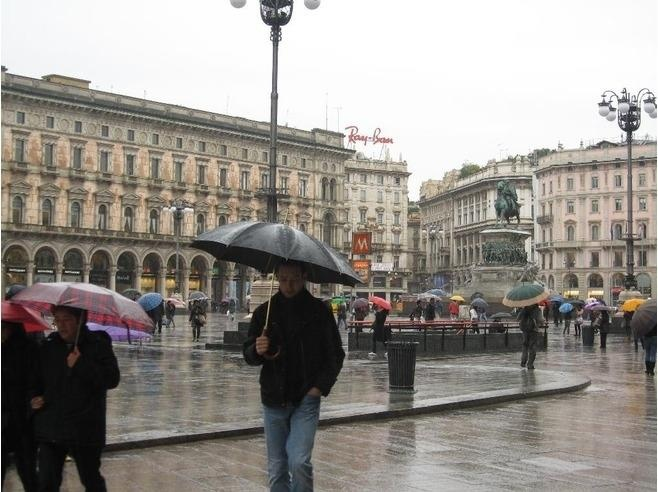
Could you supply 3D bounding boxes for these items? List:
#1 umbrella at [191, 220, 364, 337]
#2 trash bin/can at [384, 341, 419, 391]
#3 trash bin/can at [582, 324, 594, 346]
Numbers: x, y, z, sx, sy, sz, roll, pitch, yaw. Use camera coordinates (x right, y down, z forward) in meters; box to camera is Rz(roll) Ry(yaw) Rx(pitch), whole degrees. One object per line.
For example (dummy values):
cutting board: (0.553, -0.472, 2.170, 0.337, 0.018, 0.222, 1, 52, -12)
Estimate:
umbrella: (-0.731, 0.461, 13.021, 1.771, 1.316, 1.860, 3, -5, 21)
trash bin/can: (1.381, 2.254, 20.129, 0.519, 0.922, 0.610, 0, -5, 2)
trash bin/can: (8.640, 2.999, 35.951, 0.569, 0.747, 0.567, 0, -9, 1)
